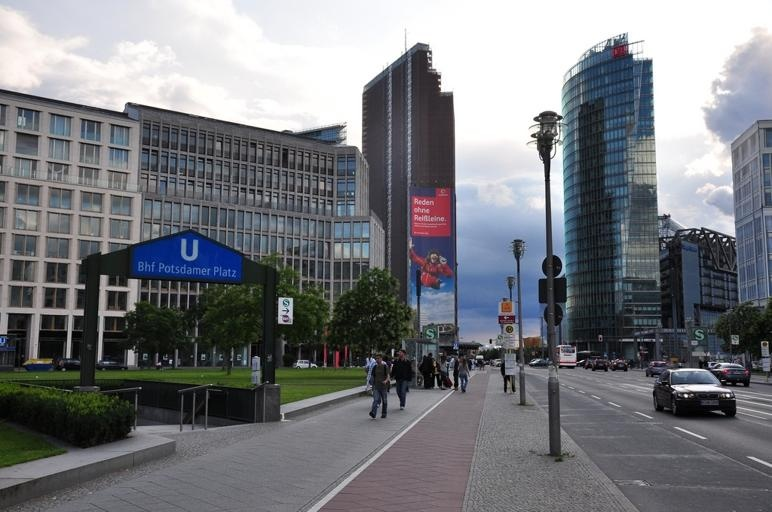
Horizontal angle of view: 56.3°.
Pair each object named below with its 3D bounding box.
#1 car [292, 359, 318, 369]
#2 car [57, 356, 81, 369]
[{"bbox_3d":[-12.654,16.736,109.117,3.475,1.372,2.150,-2,-6,4],"label":"car"},{"bbox_3d":[-34.733,11.790,78.807,2.036,1.309,2.883,2,-12,-15],"label":"car"}]
